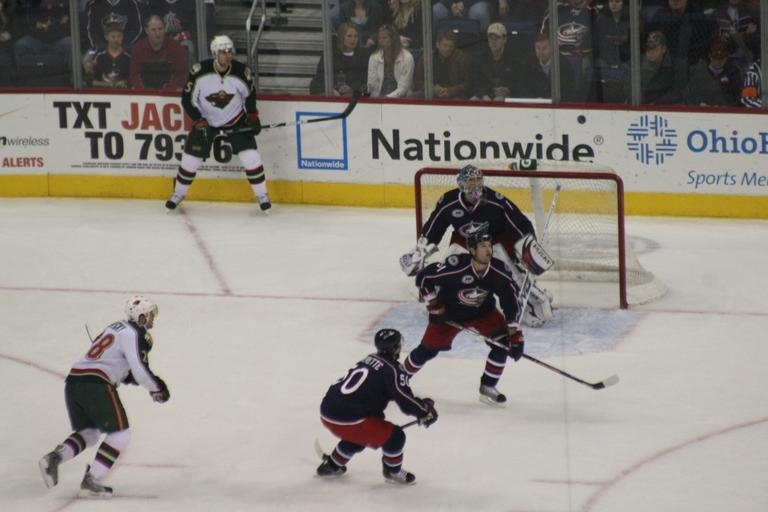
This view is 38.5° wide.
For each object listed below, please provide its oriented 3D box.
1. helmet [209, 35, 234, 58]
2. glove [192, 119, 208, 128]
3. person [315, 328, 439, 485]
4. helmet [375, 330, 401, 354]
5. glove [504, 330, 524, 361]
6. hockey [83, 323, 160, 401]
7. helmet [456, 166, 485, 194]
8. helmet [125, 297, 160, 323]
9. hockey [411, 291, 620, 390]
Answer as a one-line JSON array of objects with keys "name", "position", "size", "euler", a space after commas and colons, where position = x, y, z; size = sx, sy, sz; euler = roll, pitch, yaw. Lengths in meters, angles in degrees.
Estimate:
[{"name": "helmet", "position": [-1.782, -2.326, 12.225], "size": [0.267, 0.239, 0.220], "euler": [-14, 10, 6]}, {"name": "glove", "position": [-2.089, -1.505, 12.466], "size": [0.170, 0.094, 0.087], "euler": [-2, 9, -7]}, {"name": "person", "position": [-0.039, 1.148, 8.061], "size": [0.837, 1.085, 0.708], "euler": [-9, 23, -24]}, {"name": "helmet", "position": [0.034, 0.593, 7.751], "size": [0.186, 0.174, 0.141], "euler": [-16, 21, -37]}, {"name": "glove", "position": [1.021, 0.684, 8.517], "size": [0.203, 0.196, 0.086], "euler": [0, 1, 5]}, {"name": "hockey", "position": [-1.894, 0.788, 7.939], "size": [0.391, 0.380, 0.514], "euler": [25, 2, -35]}, {"name": "helmet", "position": [0.740, -0.663, 9.467], "size": [0.186, 0.205, 0.230], "euler": [-3, -2, -32]}, {"name": "helmet", "position": [-1.730, 0.368, 7.869], "size": [0.206, 0.186, 0.154], "euler": [-14, 25, -12]}, {"name": "hockey", "position": [1.054, 0.728, 9.061], "size": [1.899, 0.198, 0.228], "euler": [18, 54, 23]}]
